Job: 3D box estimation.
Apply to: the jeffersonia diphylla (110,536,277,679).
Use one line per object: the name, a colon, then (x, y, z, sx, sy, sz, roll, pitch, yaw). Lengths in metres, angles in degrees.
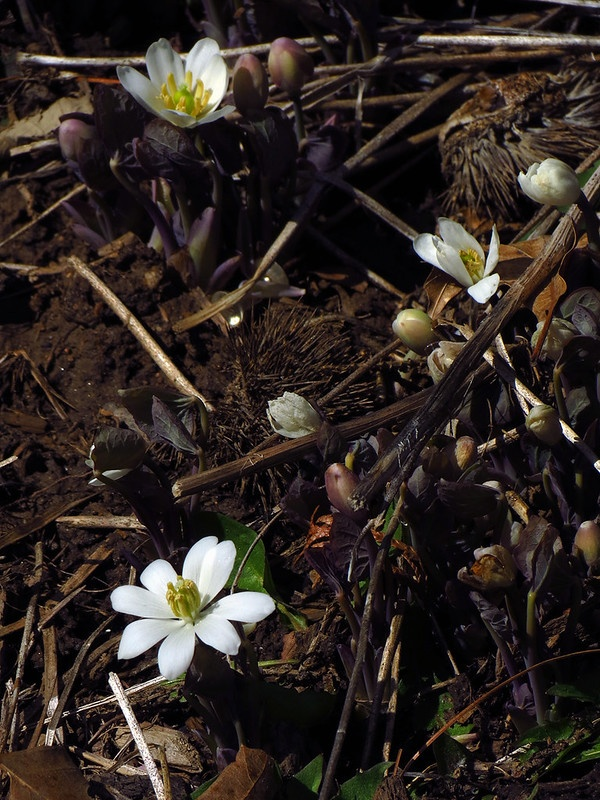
jeffersonia diphylla: (-0.118, 0.253, 0.860, 0.163, 0.155, 0.065, 10, 39, -43)

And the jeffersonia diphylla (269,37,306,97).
jeffersonia diphylla: (-0.020, -0.687, 1.524, 0.087, 0.100, 0.046, -5, 41, 0)

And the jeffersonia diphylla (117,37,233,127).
jeffersonia diphylla: (-0.227, -0.569, 1.360, 0.189, 0.145, 0.260, -8, 38, -3)
